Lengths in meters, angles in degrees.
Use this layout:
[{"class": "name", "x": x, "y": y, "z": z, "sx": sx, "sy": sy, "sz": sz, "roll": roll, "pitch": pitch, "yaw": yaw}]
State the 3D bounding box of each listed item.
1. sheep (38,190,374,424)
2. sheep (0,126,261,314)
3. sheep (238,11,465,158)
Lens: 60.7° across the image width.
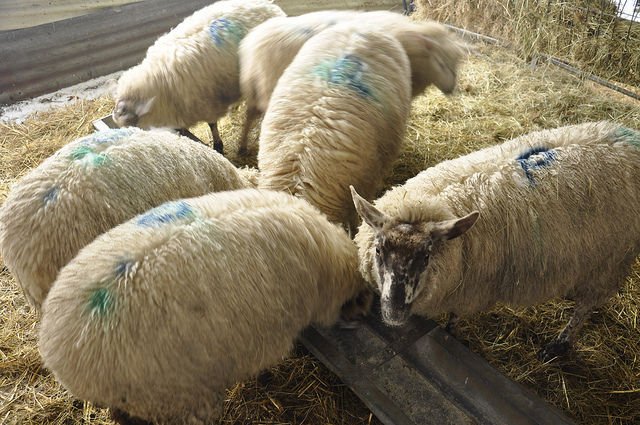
[{"class": "sheep", "x": -0.760, "y": 0.526, "z": 4.917, "sx": 2.896, "sy": 1.527, "sz": 1.502, "roll": -23, "pitch": 20, "yaw": -13}, {"class": "sheep", "x": -1.519, "y": -0.076, "z": 5.125, "sx": 2.615, "sy": 1.518, "sz": 1.250, "roll": -18, "pitch": 31, "yaw": -29}, {"class": "sheep", "x": 0.262, "y": -1.585, "z": 6.087, "sx": 2.682, "sy": 1.725, "sz": 1.056, "roll": -4, "pitch": 38, "yaw": -3}]
